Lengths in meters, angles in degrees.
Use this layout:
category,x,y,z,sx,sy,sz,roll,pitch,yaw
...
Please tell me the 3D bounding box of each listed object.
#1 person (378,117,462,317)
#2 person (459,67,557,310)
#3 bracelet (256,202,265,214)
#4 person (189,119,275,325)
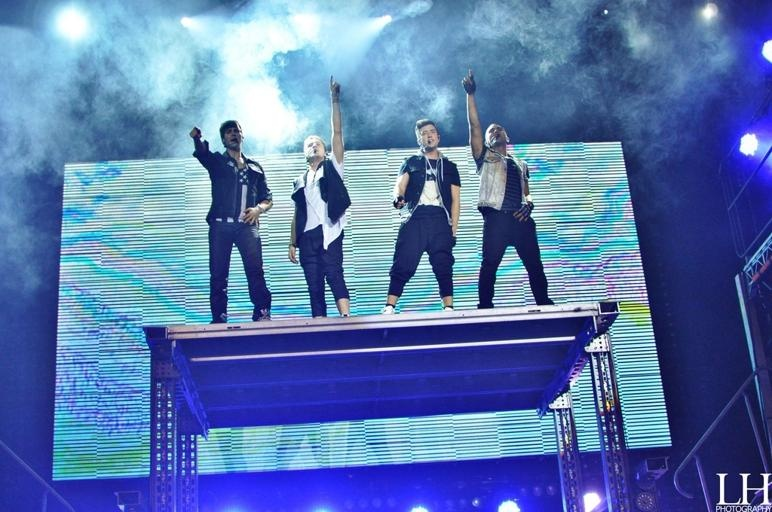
category,x,y,z,sx,sy,sz,roll,pitch,yaw
person,0.542,-0.604,16.421,0.904,2.229,1.495,0,20,7
person,1.649,-0.962,16.394,1.061,2.946,1.568,-1,20,2
bracelet,-1.761,-0.675,16.794,0.095,0.148,0.134,1,-9,-28
person,-2.073,-0.495,16.519,1.006,2.589,1.443,-5,20,-9
